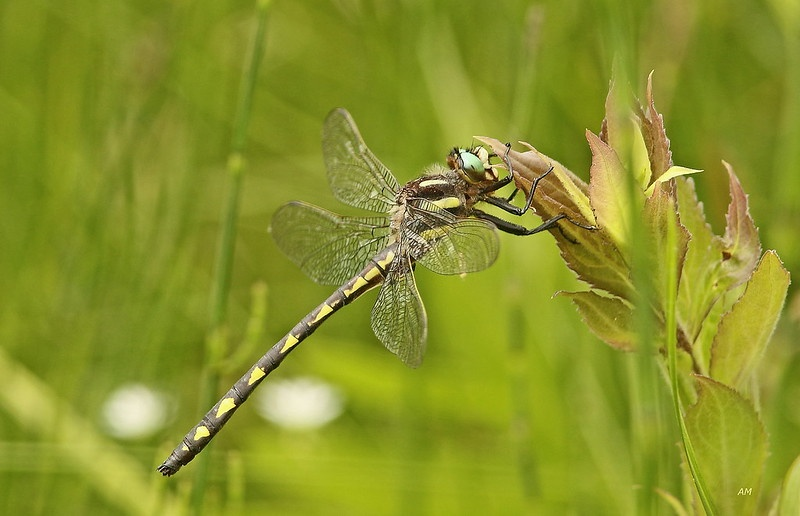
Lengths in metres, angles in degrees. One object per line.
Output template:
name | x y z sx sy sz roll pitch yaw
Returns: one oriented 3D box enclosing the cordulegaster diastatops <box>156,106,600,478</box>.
cordulegaster diastatops | -0.133 0.053 2.093 1.171 0.703 0.323 -40 -42 -11
